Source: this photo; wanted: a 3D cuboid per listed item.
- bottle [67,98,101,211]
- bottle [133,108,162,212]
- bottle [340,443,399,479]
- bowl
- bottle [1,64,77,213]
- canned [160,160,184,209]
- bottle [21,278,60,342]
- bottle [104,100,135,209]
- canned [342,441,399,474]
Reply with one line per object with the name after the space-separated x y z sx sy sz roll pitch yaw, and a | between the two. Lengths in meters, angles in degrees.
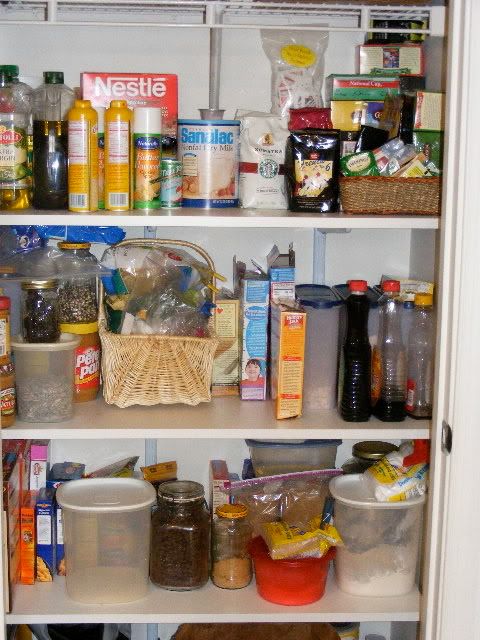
-0.271 -0.280 1.017 0.052 0.183 0.071 -2 15 -9 | bottle
-0.164 -0.277 1.028 0.050 0.170 0.029 -2 15 -11 | bottle
0.282 0.300 1.300 0.092 0.081 0.089 -4 11 -21 | bottle
0.112 0.499 1.180 0.154 0.083 0.153 -7 -7 -1 | bowl
-0.367 -0.335 1.097 0.118 0.247 0.153 -3 15 -14 | bottle
-0.128 -0.251 1.094 0.039 0.087 0.078 -1 15 -5 | canned
-0.363 -0.016 1.070 0.066 0.113 0.071 1 15 0 | bottle
-0.215 -0.282 1.023 0.058 0.185 0.060 1 15 0 | bottle
0.295 0.286 1.344 0.089 0.085 0.090 10 14 41 | canned
